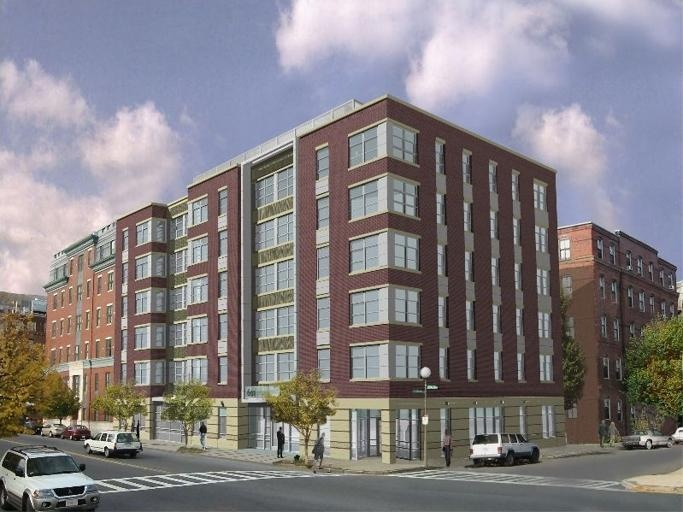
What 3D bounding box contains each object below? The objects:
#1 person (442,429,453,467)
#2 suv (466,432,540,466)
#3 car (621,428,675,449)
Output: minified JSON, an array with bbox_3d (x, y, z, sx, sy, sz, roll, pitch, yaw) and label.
[{"bbox_3d":[7.658,14.172,57.657,0.615,2.615,1.546,-4,-18,5],"label":"person"},{"bbox_3d":[11.947,14.107,58.010,4.470,1.993,2.445,2,-8,-43],"label":"suv"},{"bbox_3d":[28.681,17.356,74.026,6.002,1.785,1.735,10,-23,-33],"label":"car"}]
